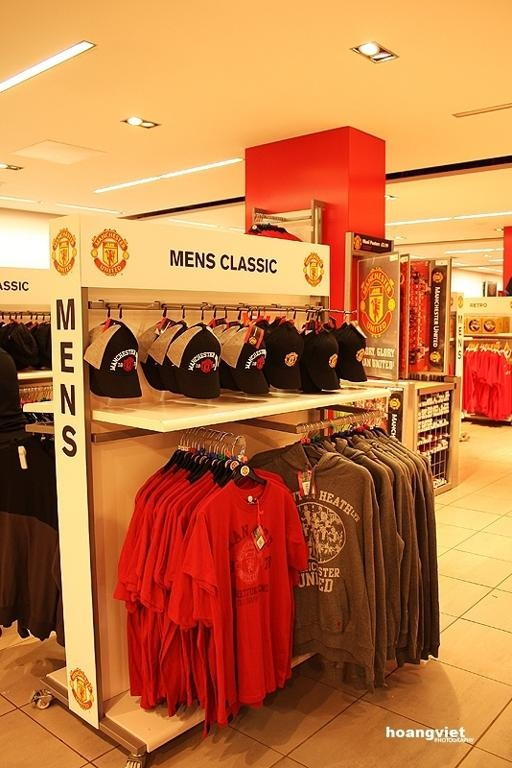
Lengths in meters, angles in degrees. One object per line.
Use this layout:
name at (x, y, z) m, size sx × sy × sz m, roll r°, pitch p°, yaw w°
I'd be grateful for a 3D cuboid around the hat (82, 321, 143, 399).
hat at (-0.423, -0.101, 1.708) m, size 0.176 × 0.141 × 0.272 m, roll -7°, pitch 44°, yaw -35°

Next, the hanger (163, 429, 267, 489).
hanger at (-0.151, 0.243, 1.931) m, size 0.186 × 0.089 × 0.250 m, roll -3°, pitch 10°, yaw -42°

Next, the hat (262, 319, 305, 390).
hat at (0.146, -0.135, 2.167) m, size 0.134 × 0.274 × 0.171 m, roll 10°, pitch 36°, yaw 31°

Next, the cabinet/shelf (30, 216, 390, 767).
cabinet/shelf at (-0.226, 0.318, 2.105) m, size 1.140 × 2.016 × 0.791 m, roll 2°, pitch -2°, yaw -43°

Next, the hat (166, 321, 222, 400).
hat at (-0.204, -0.083, 1.793) m, size 0.174 × 0.256 × 0.095 m, roll 0°, pitch -2°, yaw -8°

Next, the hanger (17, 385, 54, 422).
hanger at (-1.157, 0.102, 2.821) m, size 0.055 × 0.187 × 0.187 m, roll 1°, pitch 7°, yaw 34°

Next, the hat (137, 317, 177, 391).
hat at (-0.335, -0.105, 1.900) m, size 0.169 × 0.269 × 0.122 m, roll -2°, pitch 4°, yaw 1°

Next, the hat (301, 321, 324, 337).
hat at (0.254, -0.241, 2.328) m, size 0.091 × 0.102 × 0.060 m, roll 0°, pitch 0°, yaw 18°

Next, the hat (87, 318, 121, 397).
hat at (-0.495, -0.086, 1.697) m, size 0.084 × 0.242 × 0.161 m, roll 1°, pitch -2°, yaw -40°

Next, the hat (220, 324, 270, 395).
hat at (-0.017, -0.135, 2.030) m, size 0.179 × 0.183 × 0.297 m, roll -8°, pitch 36°, yaw -23°

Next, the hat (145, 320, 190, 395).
hat at (-0.307, -0.097, 1.901) m, size 0.167 × 0.272 × 0.143 m, roll -1°, pitch 4°, yaw -8°
